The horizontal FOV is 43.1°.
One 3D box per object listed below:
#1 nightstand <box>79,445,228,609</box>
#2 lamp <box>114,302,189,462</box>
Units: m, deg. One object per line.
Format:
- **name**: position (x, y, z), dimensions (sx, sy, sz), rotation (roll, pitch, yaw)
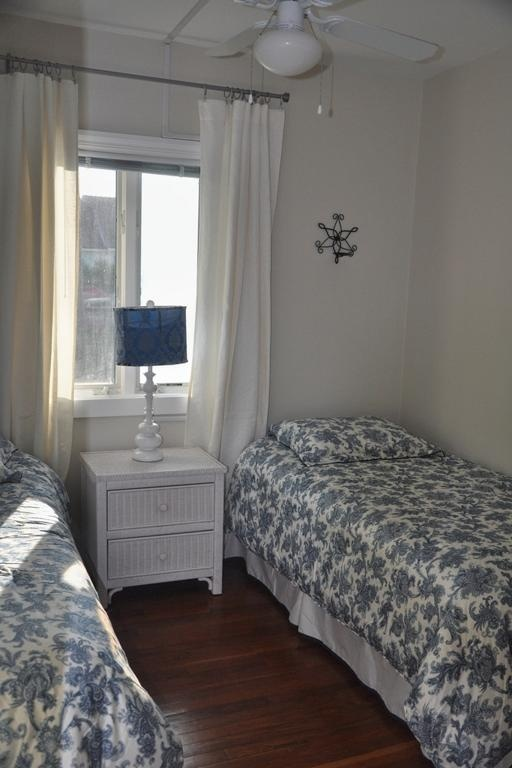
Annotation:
- **nightstand**: position (-0.376, 0.718, 2.740), dimensions (0.541, 0.455, 0.533), rotation (-1, 54, -8)
- **lamp**: position (-0.421, -0.004, 2.648), dimensions (0.264, 0.657, 0.281), rotation (2, 5, 13)
